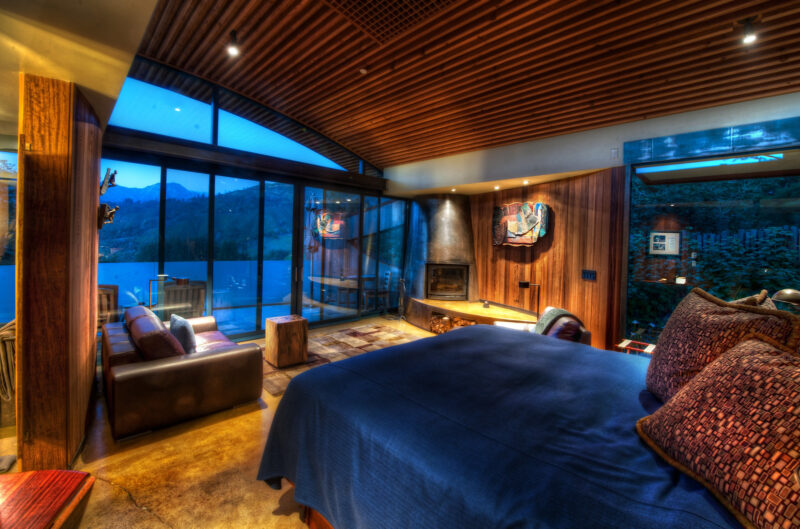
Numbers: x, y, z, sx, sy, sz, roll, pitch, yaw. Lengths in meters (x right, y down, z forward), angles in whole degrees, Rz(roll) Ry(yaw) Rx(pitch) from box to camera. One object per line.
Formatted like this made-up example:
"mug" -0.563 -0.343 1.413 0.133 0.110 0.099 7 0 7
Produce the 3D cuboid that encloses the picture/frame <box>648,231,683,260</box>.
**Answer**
"picture/frame" 3.228 -0.233 5.736 0.410 0.327 0.039 -3 -2 38

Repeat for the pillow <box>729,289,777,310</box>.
"pillow" 2.697 0.271 3.630 0.311 0.082 0.300 -9 5 -42

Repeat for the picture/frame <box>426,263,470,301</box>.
"picture/frame" 0.864 0.281 8.072 0.793 0.523 0.304 -1 -4 16

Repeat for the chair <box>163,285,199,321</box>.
"chair" -2.903 0.485 6.354 0.577 0.429 0.294 2 -3 -42

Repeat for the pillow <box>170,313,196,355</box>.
"pillow" -2.233 0.723 4.955 0.142 0.214 0.376 1 7 -37

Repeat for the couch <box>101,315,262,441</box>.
"couch" -2.504 0.949 5.344 1.445 0.783 1.815 -2 12 -37
